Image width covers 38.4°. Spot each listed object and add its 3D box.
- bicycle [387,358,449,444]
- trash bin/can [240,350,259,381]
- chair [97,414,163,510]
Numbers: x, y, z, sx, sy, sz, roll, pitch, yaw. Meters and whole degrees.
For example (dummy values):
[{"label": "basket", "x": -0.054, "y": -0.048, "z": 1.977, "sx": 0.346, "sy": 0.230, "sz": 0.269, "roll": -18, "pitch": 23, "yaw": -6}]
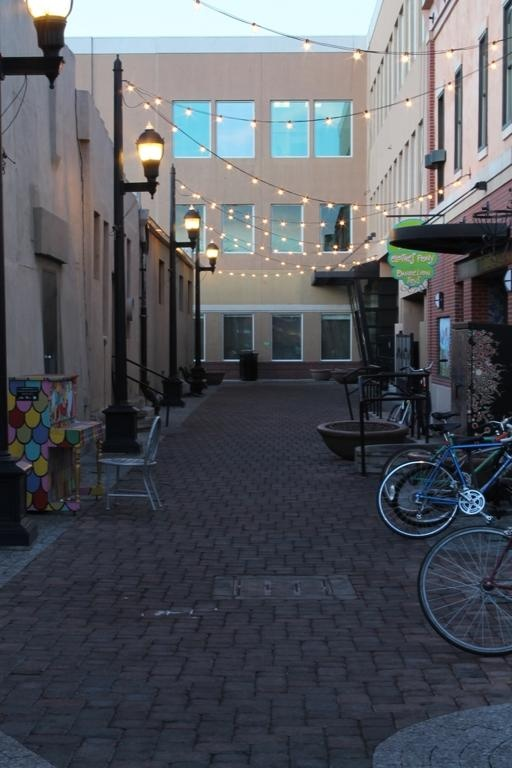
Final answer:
[{"label": "bicycle", "x": 3.021, "y": 0.308, "z": 13.167, "sx": 1.101, "sy": 1.557, "sz": 2.450, "roll": -1, "pitch": -2, "yaw": 0}, {"label": "trash bin/can", "x": -0.398, "y": -0.796, "z": 35.018, "sx": 0.805, "sy": 1.422, "sz": 0.671, "roll": 0, "pitch": 2, "yaw": 4}, {"label": "chair", "x": -1.303, "y": 0.822, "z": 7.722, "sx": 0.682, "sy": 1.029, "sz": 0.712, "roll": 3, "pitch": -2, "yaw": -25}]
